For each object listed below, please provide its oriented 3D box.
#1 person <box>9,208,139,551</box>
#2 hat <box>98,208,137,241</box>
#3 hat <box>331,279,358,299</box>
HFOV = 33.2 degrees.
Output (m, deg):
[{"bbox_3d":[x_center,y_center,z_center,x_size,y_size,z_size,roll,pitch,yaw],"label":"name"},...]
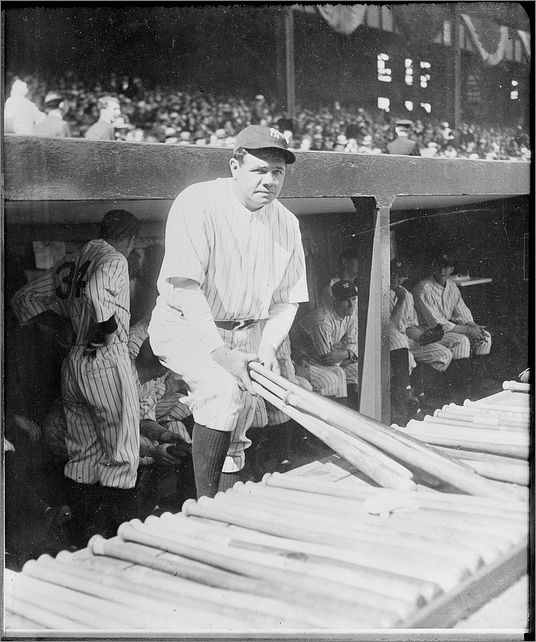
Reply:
[{"bbox_3d":[-0.575,0.166,2.881,0.365,1.030,0.304,2,4,33],"label":"person"},{"bbox_3d":[-0.472,-0.293,2.844,0.102,0.083,0.089,11,29,-48],"label":"hat"},{"bbox_3d":[0.260,-0.110,3.047,0.055,0.040,0.074,-11,11,-26],"label":"hat"}]
